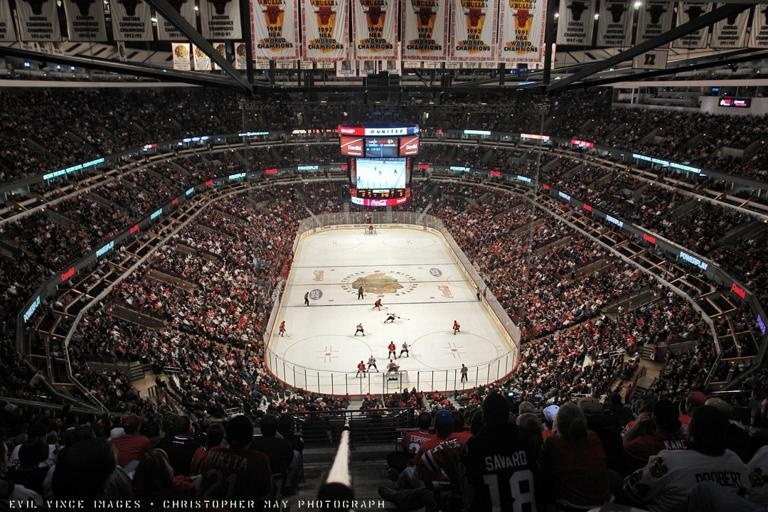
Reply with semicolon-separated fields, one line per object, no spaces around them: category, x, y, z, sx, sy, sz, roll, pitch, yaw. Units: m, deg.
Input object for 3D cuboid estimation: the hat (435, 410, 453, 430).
hat;0.928;2.547;8.186;0.252;0.255;0.328;0;1;1
